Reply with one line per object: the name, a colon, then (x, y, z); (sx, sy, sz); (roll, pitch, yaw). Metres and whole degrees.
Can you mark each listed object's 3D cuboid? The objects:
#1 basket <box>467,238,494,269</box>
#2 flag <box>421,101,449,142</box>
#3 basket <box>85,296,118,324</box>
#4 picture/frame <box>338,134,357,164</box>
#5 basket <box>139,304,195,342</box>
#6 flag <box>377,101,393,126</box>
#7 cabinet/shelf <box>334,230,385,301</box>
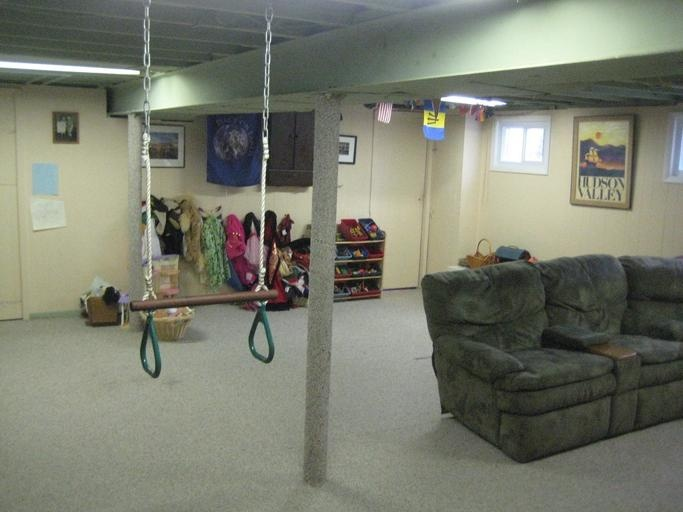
basket: (2.216, -0.035, 8.841); (0.245, 0.455, 0.441); (-4, 7, -27)
flag: (1.349, -1.986, 8.009); (0.310, 0.755, 0.094); (8, -19, -7)
basket: (-3.161, 0.704, 7.493); (0.370, 0.395, 0.370); (2, 11, -3)
picture/frame: (0.109, -1.738, 9.138); (0.347, 0.491, 0.087); (-7, 15, -34)
basket: (-2.189, 0.850, 7.042); (0.634, 0.414, 0.601); (-2, 3, -41)
flag: (0.674, -2.228, 8.654); (0.227, 0.268, 0.421); (2, 12, 0)
cabinet/shelf: (0.267, 0.132, 8.969); (1.097, 1.081, 0.387); (-2, 6, -26)
